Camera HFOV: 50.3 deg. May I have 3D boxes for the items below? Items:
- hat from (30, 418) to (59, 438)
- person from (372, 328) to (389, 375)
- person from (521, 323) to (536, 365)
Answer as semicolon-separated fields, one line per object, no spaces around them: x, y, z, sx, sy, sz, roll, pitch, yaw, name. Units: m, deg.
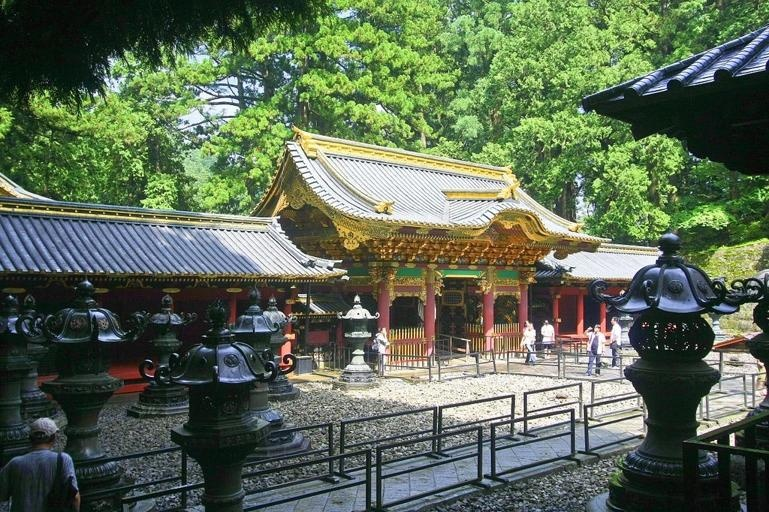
-4.731;2.426;11.416;0.341;0.239;0.432;10;4;-10;hat
-0.046;2.945;23.637;0.446;1.149;0.370;5;33;6;person
4.671;2.816;26.423;0.367;1.338;1.081;-4;-5;13;person
